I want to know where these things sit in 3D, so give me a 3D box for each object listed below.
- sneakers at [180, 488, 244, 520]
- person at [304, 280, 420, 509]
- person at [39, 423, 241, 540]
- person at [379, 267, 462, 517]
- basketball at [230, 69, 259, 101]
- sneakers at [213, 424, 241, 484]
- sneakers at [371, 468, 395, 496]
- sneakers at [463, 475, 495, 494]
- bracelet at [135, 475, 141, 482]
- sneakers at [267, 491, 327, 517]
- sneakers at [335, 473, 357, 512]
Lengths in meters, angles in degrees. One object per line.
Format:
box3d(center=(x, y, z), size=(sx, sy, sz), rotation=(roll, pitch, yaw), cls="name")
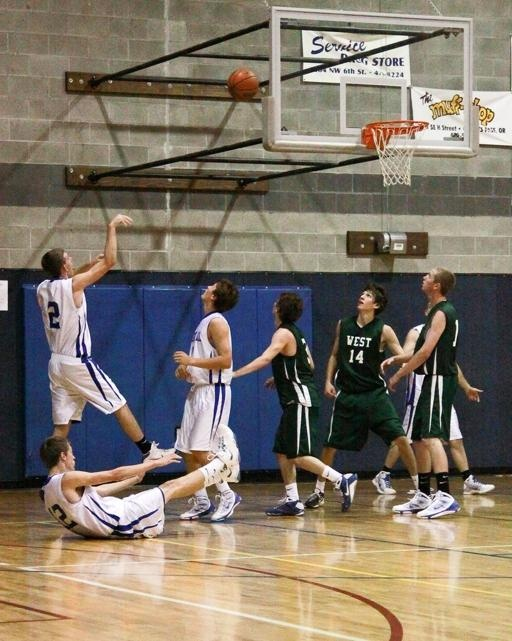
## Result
box3d(center=(-0.270, 1.274, 6.394), size=(0.309, 0.107, 0.278), rotation=(-21, -11, 20), cls="sneakers")
box3d(center=(0.816, 0.588, 7.103), size=(1.029, 1.673, 0.744), rotation=(-2, 9, -16), cls="person")
box3d(center=(-0.626, 0.947, 5.418), size=(1.233, 0.644, 0.546), rotation=(-1, 3, -25), cls="person")
box3d(center=(1.191, 0.615, 6.405), size=(0.469, 1.496, 0.432), rotation=(-2, 2, -8), cls="person")
box3d(center=(-0.099, -1.805, 7.136), size=(0.221, 0.240, 0.242), rotation=(-1, 2, -1), cls="basketball")
box3d(center=(-0.203, 0.849, 5.835), size=(0.185, 0.382, 0.130), rotation=(4, -24, -42), cls="sneakers")
box3d(center=(1.145, 1.426, 8.204), size=(0.116, 0.133, 0.307), rotation=(7, -2, -18), cls="sneakers")
box3d(center=(1.983, 1.415, 8.035), size=(0.331, 0.173, 0.132), rotation=(-2, -3, 15), cls="sneakers")
box3d(center=(-0.703, 0.942, 5.542), size=(0.032, 0.027, 0.031), rotation=(2, 7, 13), cls="bracelet")
box3d(center=(0.356, 1.306, 6.686), size=(0.495, 0.179, 0.161), rotation=(-2, -5, -15), cls="sneakers")
box3d(center=(0.650, 1.194, 6.634), size=(0.173, 0.343, 0.122), rotation=(0, 10, -3), cls="sneakers")
